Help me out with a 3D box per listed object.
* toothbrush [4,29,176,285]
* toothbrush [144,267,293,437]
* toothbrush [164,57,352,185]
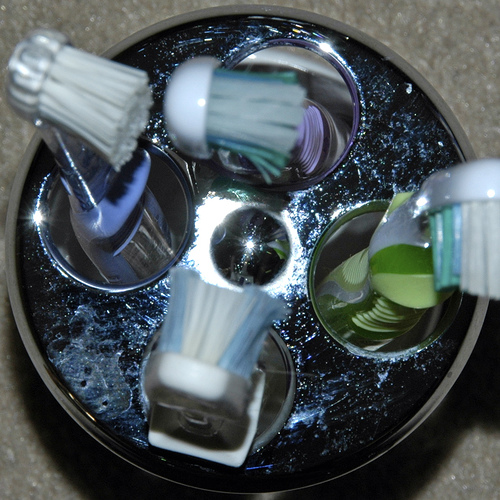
[{"bbox_3d":[-0.105,-0.054,0.388,0.070,0.190,0.055,5,60,7],"label":"toothbrush"},{"bbox_3d":[-0.024,0.049,0.345,0.094,0.081,0.085,17,94,5],"label":"toothbrush"},{"bbox_3d":[0.003,-0.080,0.378,0.064,0.095,0.049,12,93,44],"label":"toothbrush"}]
